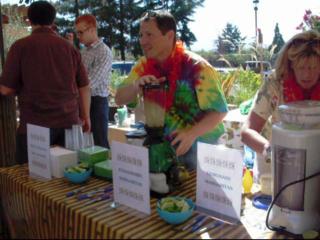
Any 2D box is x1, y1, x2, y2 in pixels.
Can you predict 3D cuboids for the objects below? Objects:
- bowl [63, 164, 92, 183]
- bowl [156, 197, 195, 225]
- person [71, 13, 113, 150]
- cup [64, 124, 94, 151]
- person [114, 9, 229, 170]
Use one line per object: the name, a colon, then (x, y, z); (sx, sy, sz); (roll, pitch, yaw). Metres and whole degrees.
bowl: (-0.468, 0.277, 1.638); (0.118, 0.110, 0.160); (8, 10, 34)
bowl: (0.066, 0.402, 1.256); (0.168, 0.086, 0.135); (2, 7, 7)
person: (-0.878, -0.501, 3.703); (0.470, 1.716, 0.472); (-3, 16, -21)
cup: (-0.534, 0.098, 1.869); (0.152, 0.219, 0.168); (-3, 8, -43)
person: (0.081, -0.238, 1.808); (0.509, 1.312, 0.555); (-8, 9, -43)
